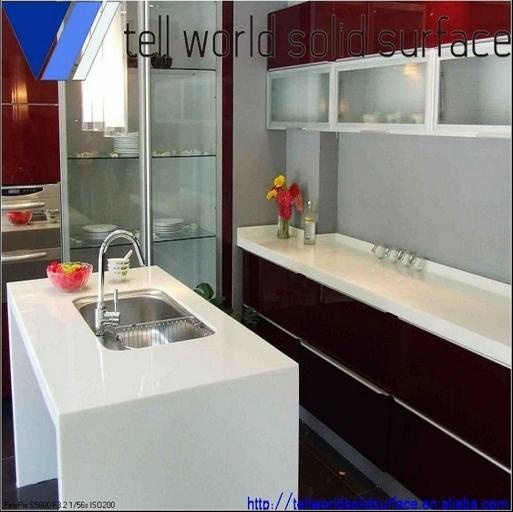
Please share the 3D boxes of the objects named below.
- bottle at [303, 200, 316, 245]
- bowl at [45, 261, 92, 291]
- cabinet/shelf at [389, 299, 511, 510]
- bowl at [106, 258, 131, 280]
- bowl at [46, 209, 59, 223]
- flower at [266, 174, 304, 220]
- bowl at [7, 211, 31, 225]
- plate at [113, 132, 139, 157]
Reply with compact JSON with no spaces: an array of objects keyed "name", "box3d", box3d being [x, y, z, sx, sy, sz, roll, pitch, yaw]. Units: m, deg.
[{"name":"bottle","box3d":[0.390,-0.242,3.185,0.083,0.309,0.111,2,11,9]},{"name":"bowl","box3d":[-0.906,0.097,2.120,0.189,0.125,0.226,-6,14,-28]},{"name":"cabinet/shelf","box3d":[0.774,0.609,1.823,0.493,0.660,0.588,-2,11,-15]},{"name":"bowl","box3d":[-0.738,0.060,2.313,0.096,0.103,0.108,0,2,-7]},{"name":"bowl","box3d":[-1.372,-0.268,2.939,0.088,0.109,0.053,0,5,-13]},{"name":"flower","box3d":[0.194,-0.443,3.356,0.262,0.365,0.324,0,4,-10]},{"name":"bowl","box3d":[-1.543,-0.252,2.860,0.091,0.073,0.101,-1,5,-11]},{"name":"plate","box3d":[-0.929,-0.792,3.129,0.123,0.140,0.179,0,8,-7]}]
